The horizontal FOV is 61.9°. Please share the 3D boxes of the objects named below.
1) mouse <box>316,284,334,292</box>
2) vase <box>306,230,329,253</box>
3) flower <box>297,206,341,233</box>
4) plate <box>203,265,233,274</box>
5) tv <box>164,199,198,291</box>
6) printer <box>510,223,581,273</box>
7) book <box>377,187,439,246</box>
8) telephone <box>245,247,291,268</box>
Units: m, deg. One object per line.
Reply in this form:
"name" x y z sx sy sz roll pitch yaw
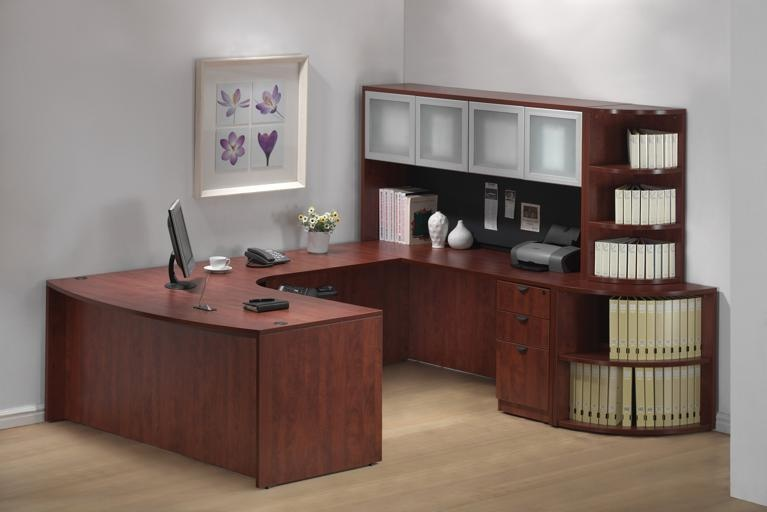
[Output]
"mouse" -0.470 0.271 5.305 0.120 0.032 0.242 1 8 5
"vase" -0.587 -0.119 5.774 0.194 0.157 0.198 1 3 4
"flower" -0.584 -0.337 5.931 0.396 0.219 0.397 -1 8 -10
"plate" -1.326 0.107 5.159 0.211 0.054 0.152 -2 8 -15
"tv" -1.560 -0.081 4.908 0.264 0.585 0.631 2 11 -11
"printer" 1.329 -0.061 5.215 0.595 0.252 0.538 6 23 44
"book" 0.224 -0.419 6.256 0.517 0.606 0.661 10 13 44
"telephone" -0.971 0.010 5.436 0.369 0.142 0.248 -2 8 -14
